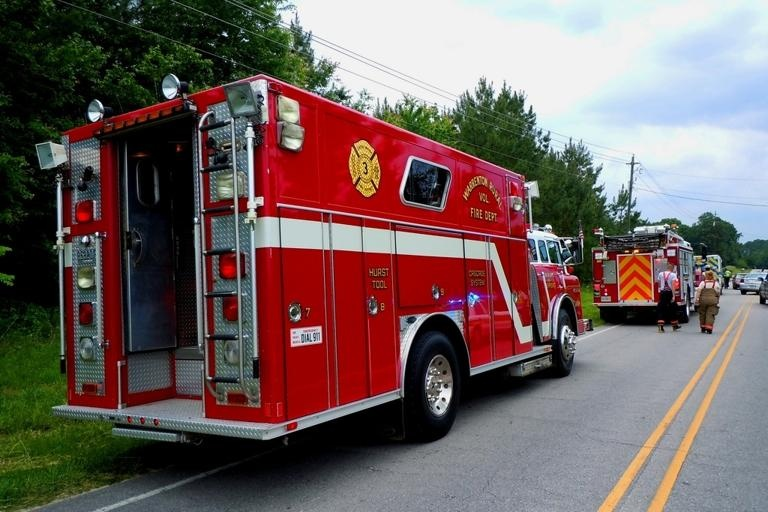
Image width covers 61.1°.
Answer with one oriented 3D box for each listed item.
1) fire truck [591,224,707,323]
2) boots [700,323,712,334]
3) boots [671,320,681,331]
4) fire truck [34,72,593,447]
[{"bbox_3d":[9.462,0.457,23.239,2.287,2.508,4.899,-1,2,35],"label":"fire truck"},{"bbox_3d":[9.241,2.035,18.689,0.283,0.303,0.423,3,7,24],"label":"boots"},{"bbox_3d":[8.804,2.045,19.724,0.201,0.357,0.625,3,7,24],"label":"boots"},{"bbox_3d":[-0.409,0.309,10.962,3.958,3.969,8.183,-5,-3,37],"label":"fire truck"}]
